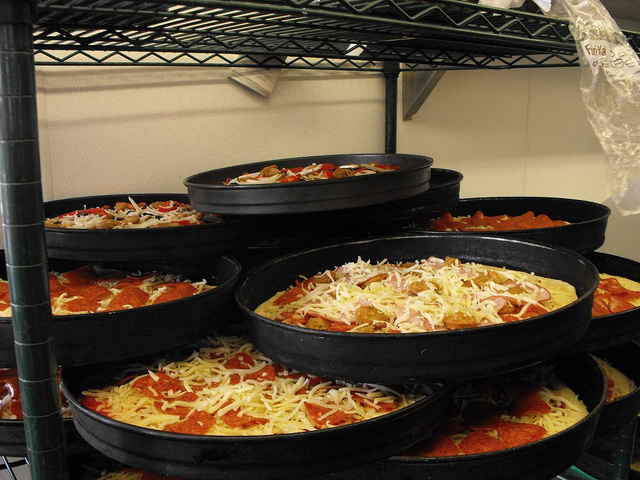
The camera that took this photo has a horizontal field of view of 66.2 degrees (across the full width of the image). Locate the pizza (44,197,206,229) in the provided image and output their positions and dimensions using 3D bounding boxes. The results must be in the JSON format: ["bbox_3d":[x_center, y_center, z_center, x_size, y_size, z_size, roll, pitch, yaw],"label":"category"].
[{"bbox_3d":[-0.466,-0.064,1.166,0.330,0.038,0.296,-6,13,-25],"label":"pizza"}]

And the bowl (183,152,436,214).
[{"bbox_3d":[-0.018,-0.145,1.201,0.525,0.112,0.545,0,12,0],"label":"bowl"}]

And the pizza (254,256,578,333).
[{"bbox_3d":[0.204,0.094,0.923,0.382,0.023,0.258,-10,22,5],"label":"pizza"}]
